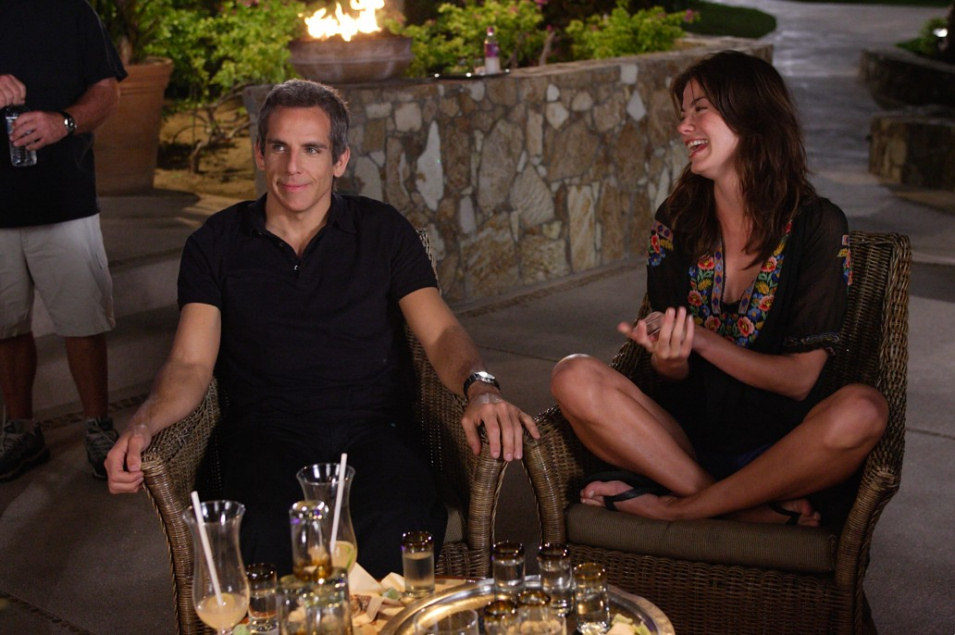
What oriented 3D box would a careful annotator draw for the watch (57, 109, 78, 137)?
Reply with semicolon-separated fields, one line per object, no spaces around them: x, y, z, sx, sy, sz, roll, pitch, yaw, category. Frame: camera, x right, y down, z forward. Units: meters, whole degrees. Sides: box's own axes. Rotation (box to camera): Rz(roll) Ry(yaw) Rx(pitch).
-1.858;-0.886;3.668;0.098;0.113;0.069;-12;7;38;watch

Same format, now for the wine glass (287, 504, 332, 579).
-0.444;0.579;2.141;0.108;0.160;0.178;-9;17;-13;wine glass

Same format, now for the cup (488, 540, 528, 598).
0.080;0.664;2.132;0.086;0.149;0.191;-5;16;0;cup

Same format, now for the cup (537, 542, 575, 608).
0.205;0.680;2.098;0.086;0.165;0.095;-4;17;4;cup

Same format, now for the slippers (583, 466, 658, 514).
0.482;0.560;2.688;0.271;0.112;0.071;1;18;4;slippers

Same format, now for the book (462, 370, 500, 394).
0.014;0.235;2.699;0.085;0.035;0.085;-26;37;-35;book
